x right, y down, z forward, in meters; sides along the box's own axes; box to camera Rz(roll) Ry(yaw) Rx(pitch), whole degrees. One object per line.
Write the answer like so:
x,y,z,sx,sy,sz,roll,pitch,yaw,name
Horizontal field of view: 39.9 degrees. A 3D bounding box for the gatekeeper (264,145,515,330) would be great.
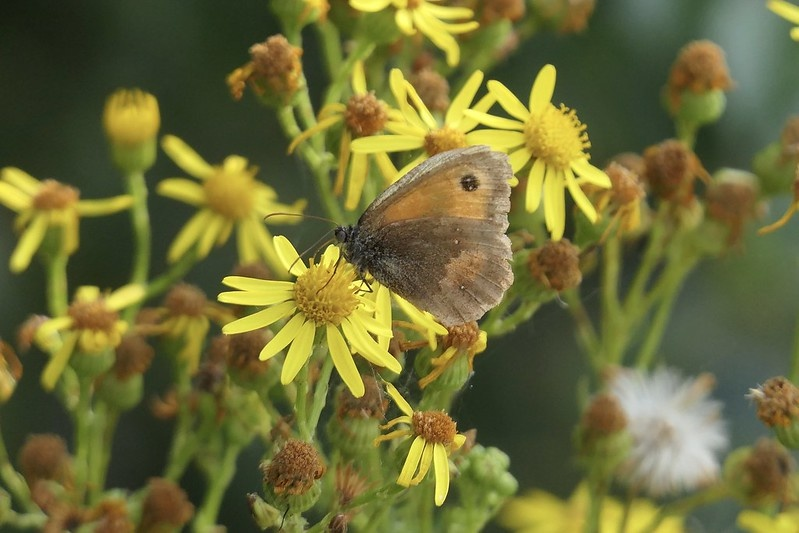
0.019,-0.065,1.776,0.386,0.292,0.364,11,0,14,gatekeeper
